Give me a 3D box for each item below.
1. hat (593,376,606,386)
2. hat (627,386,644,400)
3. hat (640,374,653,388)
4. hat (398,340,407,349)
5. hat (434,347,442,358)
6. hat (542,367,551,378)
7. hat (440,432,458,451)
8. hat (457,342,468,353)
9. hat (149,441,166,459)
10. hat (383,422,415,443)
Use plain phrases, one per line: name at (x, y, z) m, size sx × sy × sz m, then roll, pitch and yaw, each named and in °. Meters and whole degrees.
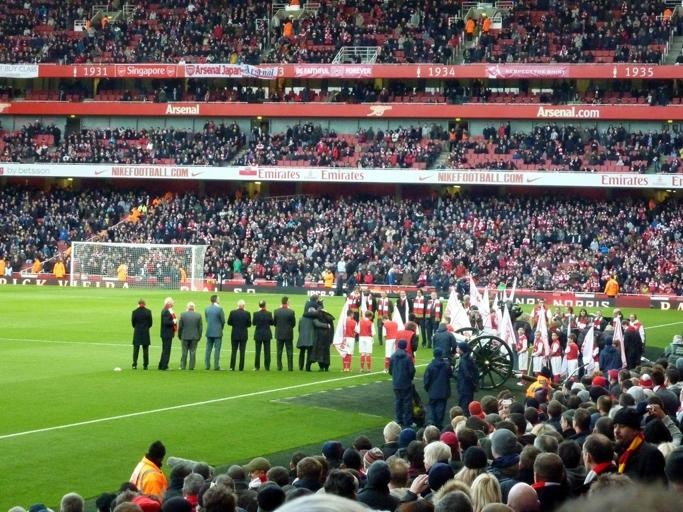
hat at (9.994, 4.915, 58.031) m, size 0.356 × 0.321 × 0.569 m, roll -1°, pitch 14°, yaw 22°
hat at (10.840, 5.088, 54.953) m, size 0.551 × 0.574 × 1.071 m, roll -3°, pitch -4°, yaw 39°
hat at (11.562, 4.713, 56.636) m, size 0.455 × 0.568 × 0.993 m, roll 0°, pitch -3°, yaw 0°
hat at (2.399, 3.471, 59.510) m, size 0.265 × 0.290 × 0.370 m, roll 8°, pitch 10°, yaw 14°
hat at (3.804, 3.836, 59.346) m, size 0.316 × 0.347 × 0.219 m, roll -2°, pitch -4°, yaw 33°
hat at (8.212, 4.662, 59.984) m, size 0.360 × 0.438 × 0.472 m, roll 2°, pitch -5°, yaw -7°
hat at (3.813, 6.563, 52.918) m, size 0.664 × 0.637 × 0.473 m, roll -1°, pitch -3°, yaw 2°
hat at (4.945, 3.677, 60.468) m, size 0.429 × 0.438 × 0.366 m, roll 6°, pitch 8°, yaw 42°
hat at (-6.622, 6.906, 53.096) m, size 0.492 × 0.646 × 0.637 m, roll 5°, pitch 25°, yaw -3°
hat at (2.054, 6.460, 54.427) m, size 1.015 × 0.851 × 0.755 m, roll -5°, pitch -2°, yaw 3°
